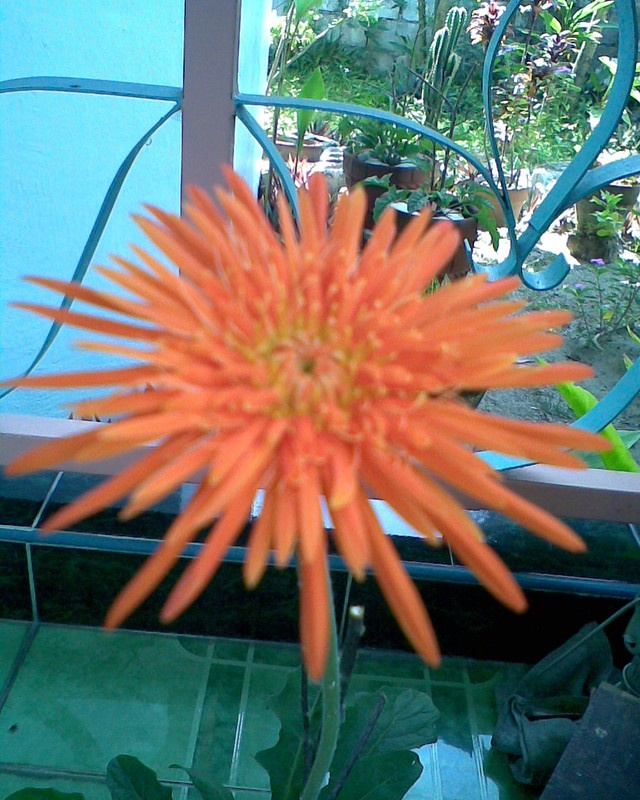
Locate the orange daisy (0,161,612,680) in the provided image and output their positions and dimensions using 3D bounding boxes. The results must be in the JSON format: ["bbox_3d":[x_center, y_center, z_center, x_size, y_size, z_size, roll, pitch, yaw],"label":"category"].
[{"bbox_3d":[-0.022,0.016,0.233,0.187,0.061,0.161,19,65,6],"label":"orange daisy"}]
